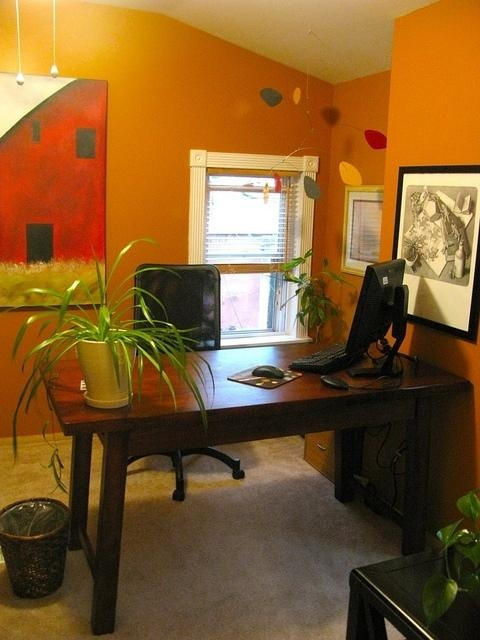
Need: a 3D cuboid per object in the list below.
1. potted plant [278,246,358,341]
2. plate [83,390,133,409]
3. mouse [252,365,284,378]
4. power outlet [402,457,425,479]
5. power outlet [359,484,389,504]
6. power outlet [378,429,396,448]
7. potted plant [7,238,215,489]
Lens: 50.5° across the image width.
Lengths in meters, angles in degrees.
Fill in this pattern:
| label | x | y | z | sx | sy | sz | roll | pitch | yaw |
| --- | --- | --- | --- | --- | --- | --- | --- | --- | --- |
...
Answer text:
| label | x | y | z | sx | sy | sz | roll | pitch | yaw |
| --- | --- | --- | --- | --- | --- | --- | --- | --- | --- |
| potted plant | 0.521 | -0.159 | 3.675 | 0.546 | 0.764 | 0.534 | 3 | 0 | 23 |
| plate | -0.414 | 0.248 | 1.572 | 0.140 | 0.038 | 0.074 | 2 | 7 | -9 |
| mouse | 0.111 | 0.199 | 1.984 | 0.093 | 0.031 | 0.053 | 0 | 17 | 1 |
| power outlet | 0.749 | 0.617 | 2.132 | 0.085 | 0.087 | 0.157 | 0 | -15 | 14 |
| power outlet | 0.681 | 0.875 | 2.546 | 0.099 | 0.025 | 0.105 | 2 | 6 | -20 |
| power outlet | 0.737 | 0.594 | 2.562 | 0.018 | 0.085 | 0.045 | 5 | 13 | -21 |
| potted plant | -0.422 | 0.117 | 1.650 | 0.492 | 0.652 | 0.644 | -26 | -17 | 38 |
